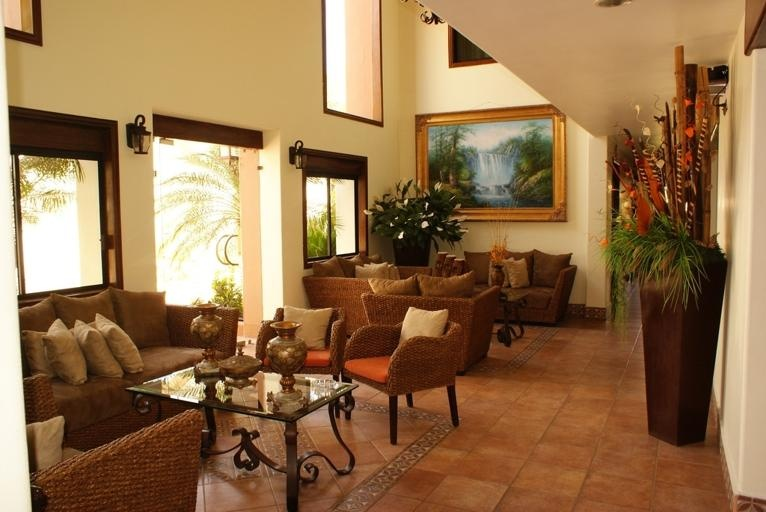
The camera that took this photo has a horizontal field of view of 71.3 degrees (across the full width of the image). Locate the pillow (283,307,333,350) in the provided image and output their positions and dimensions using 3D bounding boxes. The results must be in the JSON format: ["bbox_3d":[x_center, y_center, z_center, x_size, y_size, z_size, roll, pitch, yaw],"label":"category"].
[{"bbox_3d":[-0.710,0.687,4.995,0.389,0.358,0.140,6,-27,1],"label":"pillow"}]

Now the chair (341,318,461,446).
[{"bbox_3d":[0.177,1.099,5.016,0.921,0.946,0.772,-5,8,-31],"label":"chair"}]

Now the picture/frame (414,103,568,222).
[{"bbox_3d":[2.088,-1.701,9.784,2.301,1.655,0.095,2,8,25],"label":"picture/frame"}]

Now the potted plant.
[{"bbox_3d":[2.339,-0.071,4.377,0.829,3.321,1.034,5,10,38],"label":"potted plant"}]

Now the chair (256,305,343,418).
[{"bbox_3d":[-0.822,0.961,5.392,0.857,0.895,0.745,0,-6,6],"label":"chair"}]

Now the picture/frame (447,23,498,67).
[{"bbox_3d":[1.585,-3.914,9.957,0.764,0.760,0.321,1,8,12],"label":"picture/frame"}]

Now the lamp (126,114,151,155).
[{"bbox_3d":[-2.624,-1.311,5.771,0.153,0.418,0.269,4,9,35],"label":"lamp"}]

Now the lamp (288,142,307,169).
[{"bbox_3d":[-1.237,-1.481,7.753,0.240,0.396,0.199,1,8,14],"label":"lamp"}]

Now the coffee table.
[{"bbox_3d":[-0.892,1.209,4.108,1.651,0.776,0.937,1,0,32],"label":"coffee table"}]

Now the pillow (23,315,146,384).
[{"bbox_3d":[-2.565,0.808,4.582,0.411,0.517,0.853,5,9,41],"label":"pillow"}]

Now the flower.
[{"bbox_3d":[0.590,-0.721,9.957,1.569,1.111,1.372,4,6,-10],"label":"flower"}]

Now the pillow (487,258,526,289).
[{"bbox_3d":[2.194,0.287,9.169,0.644,0.546,0.587,2,-2,-32],"label":"pillow"}]
